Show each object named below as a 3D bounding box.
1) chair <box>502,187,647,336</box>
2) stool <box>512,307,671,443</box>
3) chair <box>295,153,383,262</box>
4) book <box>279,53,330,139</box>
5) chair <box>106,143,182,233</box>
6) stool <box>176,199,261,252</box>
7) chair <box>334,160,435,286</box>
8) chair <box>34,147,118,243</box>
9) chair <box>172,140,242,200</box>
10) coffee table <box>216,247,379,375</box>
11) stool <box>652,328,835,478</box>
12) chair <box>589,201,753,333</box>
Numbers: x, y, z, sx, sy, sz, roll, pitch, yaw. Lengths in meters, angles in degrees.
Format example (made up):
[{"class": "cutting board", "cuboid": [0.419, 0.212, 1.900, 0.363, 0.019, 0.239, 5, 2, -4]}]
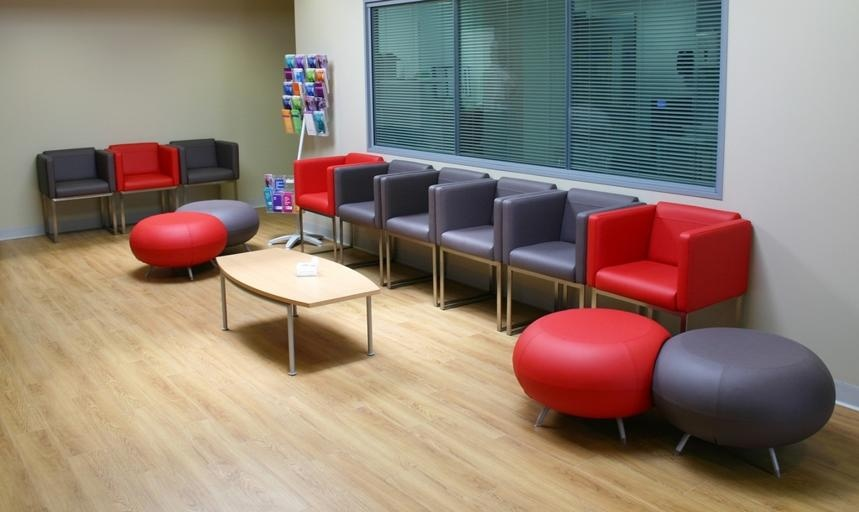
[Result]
[{"class": "chair", "cuboid": [1.424, 0.088, 5.659, 1.080, 1.338, 1.117, -17, 21, -40]}, {"class": "stool", "cuboid": [1.237, 0.746, 4.383, 1.031, 0.615, 1.007, 8, 16, 33]}, {"class": "chair", "cuboid": [-1.187, -0.696, 7.873, 0.938, 1.165, 0.931, -13, 23, -37]}, {"class": "book", "cuboid": [-1.777, -2.295, 8.381, 0.838, 1.074, 0.339, 11, 25, 30]}, {"class": "chair", "cuboid": [-4.599, -1.157, 9.393, 0.988, 1.165, 0.906, -15, 28, -38]}, {"class": "stool", "cuboid": [-2.689, -0.341, 7.873, 1.037, 0.299, 0.962, -12, 7, 0]}, {"class": "chair", "cuboid": [-0.535, -0.541, 7.331, 1.016, 1.177, 0.980, 15, 23, 37]}, {"class": "chair", "cuboid": [-5.428, -0.948, 8.889, 1.346, 1.575, 1.087, -9, 17, -37]}, {"class": "chair", "cuboid": [-3.794, -1.360, 9.727, 0.996, 0.988, 0.716, -15, 30, -40]}, {"class": "coffee table", "cuboid": [-1.355, 0.456, 5.797, 1.821, 0.595, 1.137, 17, 20, 42]}, {"class": "stool", "cuboid": [2.138, 0.847, 4.100, 1.051, 0.633, 1.069, 6, 17, 36]}, {"class": "chair", "cuboid": [2.087, 0.119, 5.120, 1.121, 0.928, 1.060, 12, 24, 43]}]
